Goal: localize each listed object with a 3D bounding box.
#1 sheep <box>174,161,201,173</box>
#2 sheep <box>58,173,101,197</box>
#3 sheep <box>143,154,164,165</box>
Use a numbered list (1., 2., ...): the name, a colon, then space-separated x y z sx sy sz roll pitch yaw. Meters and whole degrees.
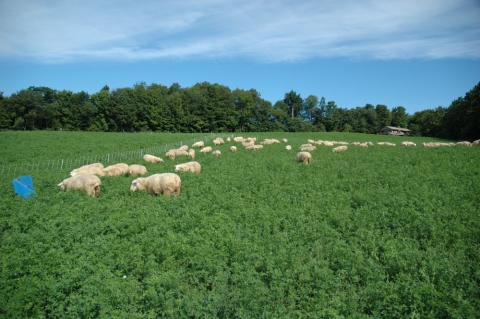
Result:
1. sheep: -5.075 0.743 33.654 2.486 1.346 1.057 2 -6 -15
2. sheep: -13.128 2.013 28.633 3.818 1.405 1.143 8 13 21
3. sheep: -10.080 -0.112 39.128 2.712 1.023 1.373 10 23 27
